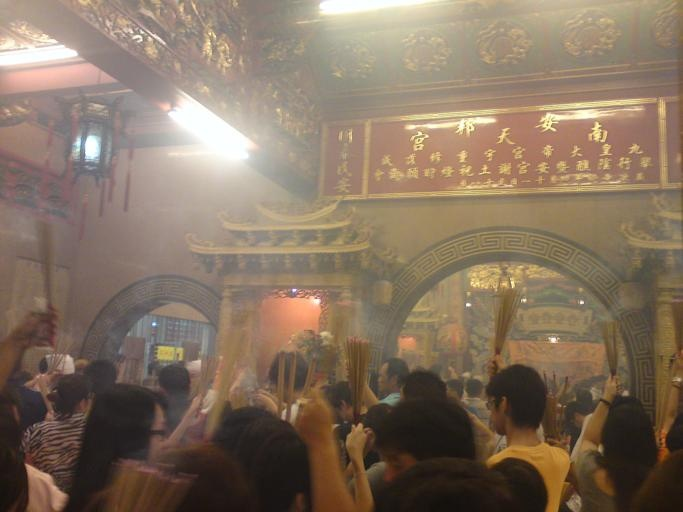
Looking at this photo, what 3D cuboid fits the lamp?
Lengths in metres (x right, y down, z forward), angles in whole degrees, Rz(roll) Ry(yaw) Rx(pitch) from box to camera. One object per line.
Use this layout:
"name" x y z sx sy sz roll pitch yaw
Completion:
"lamp" -2.552 -1.258 5.456 0.752 0.938 0.736 5 15 9

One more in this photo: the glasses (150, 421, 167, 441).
"glasses" -0.525 0.508 1.522 0.042 0.042 0.042 2 -11 -6
